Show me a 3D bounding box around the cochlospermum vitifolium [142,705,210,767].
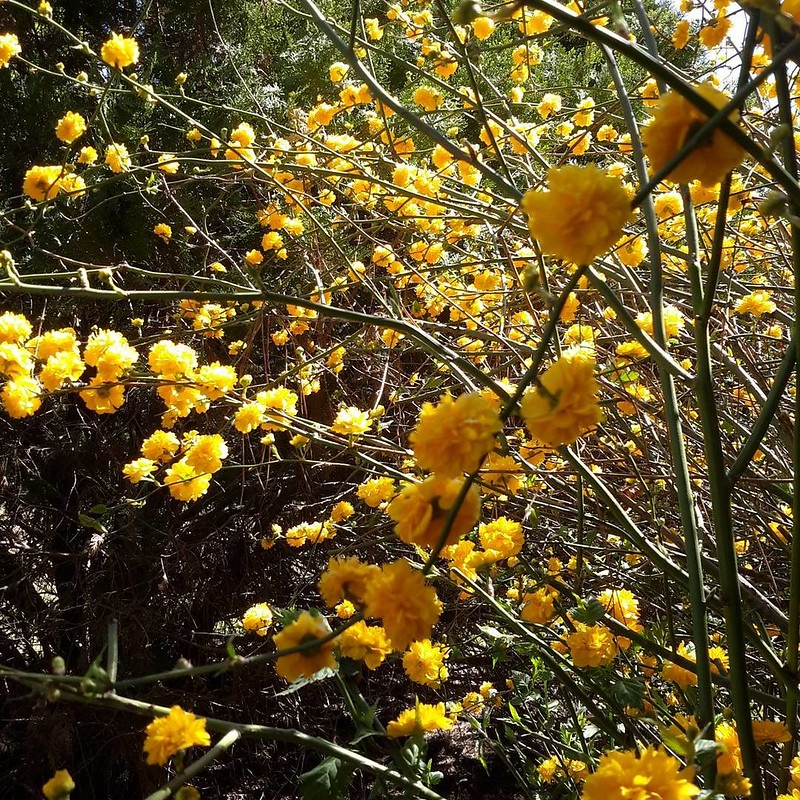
[{"bbox_3d":[-0.411,0.630,1.525,0.111,0.112,0.179,14,-38,-11],"label":"cochlospermum vitifolium"}]
